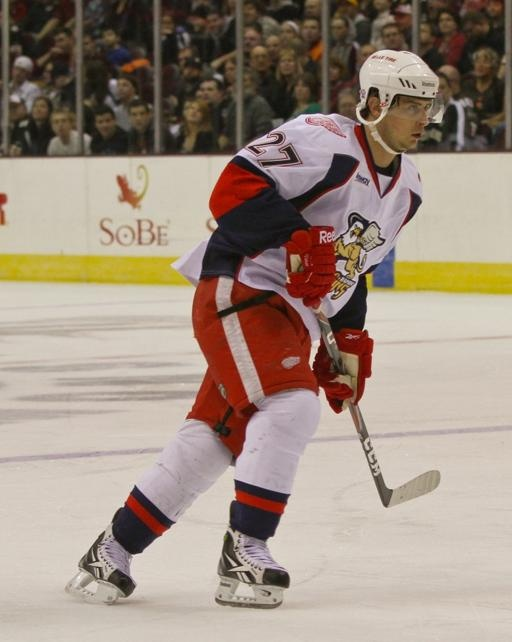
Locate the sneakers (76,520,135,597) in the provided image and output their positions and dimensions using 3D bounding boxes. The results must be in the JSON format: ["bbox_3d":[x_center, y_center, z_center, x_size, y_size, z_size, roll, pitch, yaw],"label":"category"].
[{"bbox_3d":[-0.283,0.457,1.788,0.115,0.120,0.098,4,10,-3],"label":"sneakers"}]

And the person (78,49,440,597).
[{"bbox_3d":[0.025,-0.002,1.895,0.545,1.130,0.590,8,11,12],"label":"person"}]

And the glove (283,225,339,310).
[{"bbox_3d":[0.090,-0.091,1.754,0.105,0.127,0.064,-2,14,-24],"label":"glove"}]
